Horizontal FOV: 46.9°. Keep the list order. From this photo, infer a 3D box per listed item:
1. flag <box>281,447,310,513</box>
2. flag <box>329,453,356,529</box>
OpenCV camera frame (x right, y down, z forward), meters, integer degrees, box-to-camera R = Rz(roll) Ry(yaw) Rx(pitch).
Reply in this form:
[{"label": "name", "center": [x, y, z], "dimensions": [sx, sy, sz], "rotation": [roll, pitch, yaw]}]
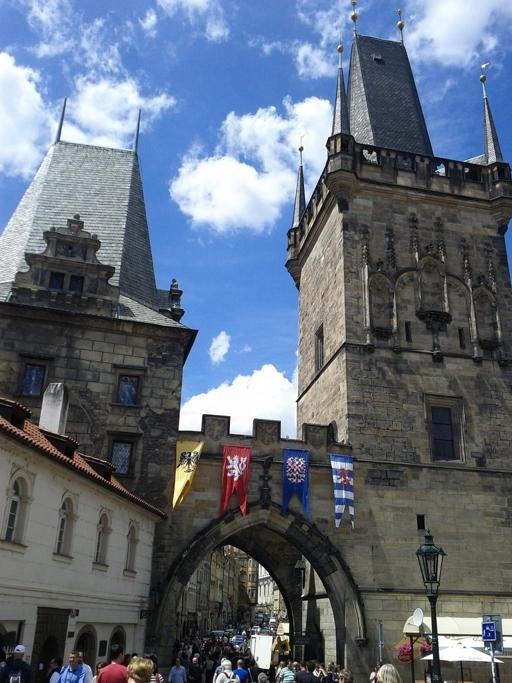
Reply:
[{"label": "flag", "center": [1.269, 4.403, 18.782], "dimensions": [0.939, 1.996, 0.031], "rotation": [7, -17, -18]}, {"label": "flag", "center": [2.774, 4.737, 18.882], "dimensions": [0.804, 2.185, 0.509], "rotation": [2, -26, -1]}]
